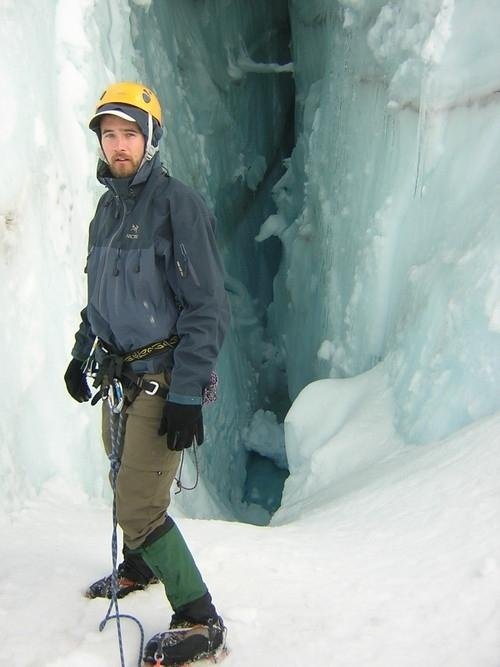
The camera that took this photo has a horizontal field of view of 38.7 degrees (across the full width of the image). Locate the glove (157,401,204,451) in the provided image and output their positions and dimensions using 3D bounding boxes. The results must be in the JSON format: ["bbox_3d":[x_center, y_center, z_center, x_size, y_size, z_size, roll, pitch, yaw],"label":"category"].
[{"bbox_3d":[-0.168,0.229,1.705,0.103,0.147,0.106,1,9,-8],"label":"glove"}]

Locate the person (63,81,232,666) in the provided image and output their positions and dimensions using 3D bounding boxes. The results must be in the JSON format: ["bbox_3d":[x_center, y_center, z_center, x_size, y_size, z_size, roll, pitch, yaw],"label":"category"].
[{"bbox_3d":[-0.231,0.069,1.824,0.317,1.392,0.543,-1,9,-23],"label":"person"}]

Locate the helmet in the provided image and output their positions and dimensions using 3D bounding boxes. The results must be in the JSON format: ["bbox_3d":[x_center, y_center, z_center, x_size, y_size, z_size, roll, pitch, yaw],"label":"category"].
[{"bbox_3d":[-0.307,-0.580,1.884,0.134,0.142,0.188,4,-9,20],"label":"helmet"}]

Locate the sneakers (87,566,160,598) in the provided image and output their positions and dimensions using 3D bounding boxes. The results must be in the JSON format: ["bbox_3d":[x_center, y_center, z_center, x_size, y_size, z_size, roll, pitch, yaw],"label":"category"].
[{"bbox_3d":[-0.348,0.687,1.986,0.227,0.108,0.083,7,-14,-15],"label":"sneakers"}]
